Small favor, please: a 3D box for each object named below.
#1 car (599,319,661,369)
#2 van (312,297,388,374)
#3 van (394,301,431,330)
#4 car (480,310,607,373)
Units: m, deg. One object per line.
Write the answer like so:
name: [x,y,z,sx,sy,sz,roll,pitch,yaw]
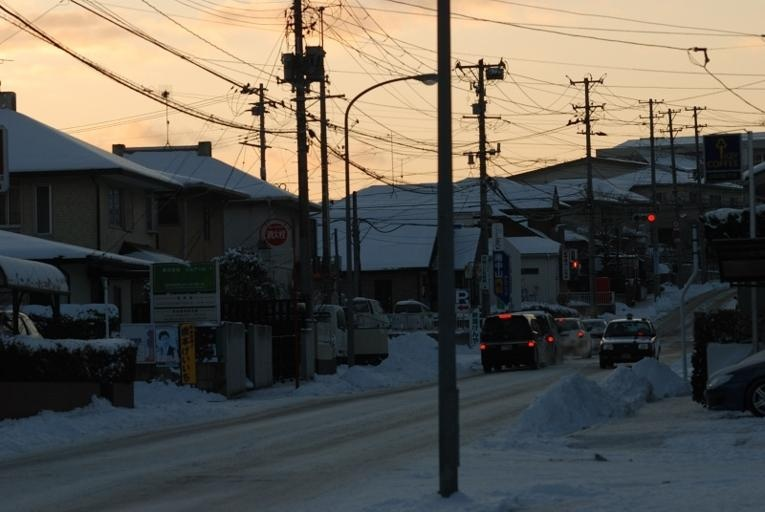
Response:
car: [9.401,3.396,50.101,2.037,1.868,2.746,-2,-5,15]
van: [-1.030,3.517,52.799,2.366,2.838,4.679,2,-2,-15]
van: [1.698,3.453,73.212,1.171,1.074,2.399,0,1,14]
car: [5.904,3.403,53.440,2.306,1.923,6.422,-2,1,19]
